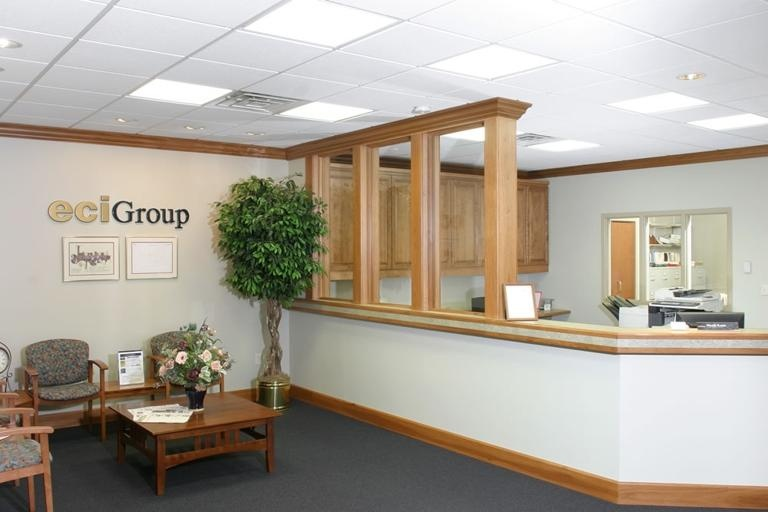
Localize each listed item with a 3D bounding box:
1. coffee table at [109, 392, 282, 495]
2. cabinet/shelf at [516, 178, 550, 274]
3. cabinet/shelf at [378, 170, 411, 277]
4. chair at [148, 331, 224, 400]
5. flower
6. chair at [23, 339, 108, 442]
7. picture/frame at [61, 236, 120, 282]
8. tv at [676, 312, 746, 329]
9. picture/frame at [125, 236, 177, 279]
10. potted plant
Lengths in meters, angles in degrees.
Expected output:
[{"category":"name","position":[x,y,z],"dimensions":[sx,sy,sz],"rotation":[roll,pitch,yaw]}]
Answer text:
[{"category":"coffee table","position":[-2.098,1.972,5.512],"dimensions":[1.478,0.682,1.529],"rotation":[-3,4,-35]},{"category":"cabinet/shelf","position":[3.014,-0.613,9.964],"dimensions":[0.894,1.875,0.232],"rotation":[-4,6,-37]},{"category":"cabinet/shelf","position":[0.169,-0.557,7.972],"dimensions":[0.620,1.738,0.179],"rotation":[-3,5,-27]},{"category":"chair","position":[-2.116,1.258,5.501],"dimensions":[0.855,0.730,0.794],"rotation":[-1,-2,0]},{"category":"flower","position":[-2.120,1.196,5.505],"dimensions":[0.817,0.687,0.760],"rotation":[3,-1,-38]},{"category":"chair","position":[-4.034,1.659,6.149],"dimensions":[0.753,1.039,0.872],"rotation":[7,2,34]},{"category":"picture/frame","position":[-4.046,0.034,6.706],"dimensions":[0.712,0.613,0.024],"rotation":[-2,3,-31]},{"category":"tv","position":[3.217,0.642,4.861],"dimensions":[0.558,0.182,0.415],"rotation":[1,3,31]},{"category":"picture/frame","position":[-3.388,0.008,7.071],"dimensions":[0.715,0.553,0.075],"rotation":[1,-2,-32]},{"category":"potted plant","position":[-1.685,0.529,7.188],"dimensions":[1.484,3.350,1.143],"rotation":[3,6,41]}]
